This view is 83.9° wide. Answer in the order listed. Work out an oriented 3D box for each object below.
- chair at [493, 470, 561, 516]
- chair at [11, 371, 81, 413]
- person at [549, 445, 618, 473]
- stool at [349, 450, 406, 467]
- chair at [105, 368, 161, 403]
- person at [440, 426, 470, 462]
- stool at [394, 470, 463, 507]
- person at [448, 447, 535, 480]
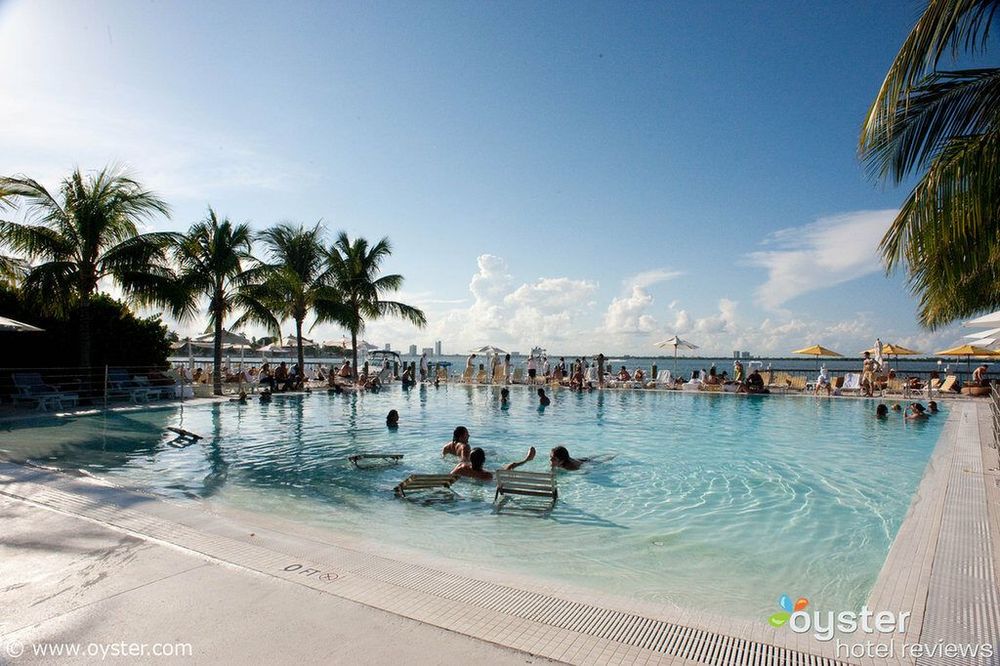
[{"bbox_3d":[0.498,2.835,10.517,1.111,0.635,0.639,-1,0,13],"label":"chair"},{"bbox_3d":[-14.832,1.882,18.080,2.449,1.019,1.275,3,4,21],"label":"chair"},{"bbox_3d":[1.732,2.912,12.891,0.999,0.327,0.664,0,-6,-12],"label":"person"},{"bbox_3d":[-2.862,2.838,12.809,1.215,0.279,0.745,2,0,-12],"label":"stool"},{"bbox_3d":[-13.865,2.085,20.890,2.238,1.270,1.607,0,1,30],"label":"chair"},{"bbox_3d":[-1.134,2.734,13.831,0.340,0.509,0.816,-7,8,-27],"label":"person"},{"bbox_3d":[-1.378,2.893,10.595,1.245,0.460,0.850,2,0,-12],"label":"stool"},{"bbox_3d":[-0.496,2.783,11.748,0.818,0.433,1.163,1,1,15],"label":"person"}]
